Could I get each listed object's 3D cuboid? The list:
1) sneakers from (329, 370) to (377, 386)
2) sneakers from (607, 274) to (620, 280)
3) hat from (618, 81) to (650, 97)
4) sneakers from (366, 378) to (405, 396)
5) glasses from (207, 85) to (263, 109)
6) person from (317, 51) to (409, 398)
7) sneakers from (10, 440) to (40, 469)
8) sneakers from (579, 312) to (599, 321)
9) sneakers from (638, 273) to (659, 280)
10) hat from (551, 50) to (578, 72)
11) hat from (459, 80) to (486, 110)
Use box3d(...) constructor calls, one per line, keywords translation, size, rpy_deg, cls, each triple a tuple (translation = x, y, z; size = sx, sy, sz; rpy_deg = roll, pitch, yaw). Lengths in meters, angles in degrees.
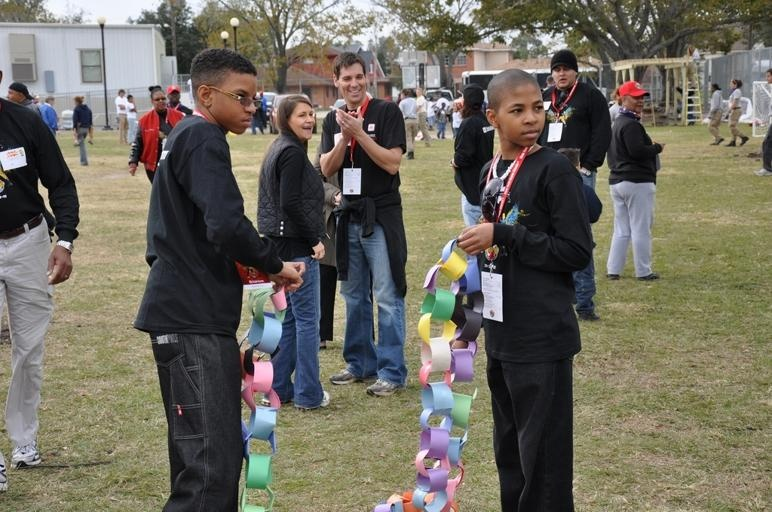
box3d(translation=(-0.327, 1.123, 7.976), size=(0.443, 0.201, 0.153), rpy_deg=(4, -3, -7), cls="sneakers")
box3d(translation=(2.745, 0.262, 10.407), size=(0.058, 0.066, 0.146), rpy_deg=(-2, 2, -26), cls="sneakers")
box3d(translation=(2.826, -1.928, 9.930), size=(0.231, 0.198, 0.345), rpy_deg=(-10, 14, -41), cls="hat")
box3d(translation=(-0.021, 1.187, 7.686), size=(0.313, 0.133, 0.139), rpy_deg=(3, -1, -11), cls="sneakers")
box3d(translation=(-0.956, -1.016, 5.435), size=(0.188, 0.055, 0.182), rpy_deg=(27, 10, 21), cls="glasses")
box3d(translation=(-0.186, -0.271, 7.629), size=(0.716, 3.029, 0.467), rpy_deg=(-1, 8, -1), cls="person")
box3d(translation=(-2.708, 1.545, 6.568), size=(0.303, 0.201, 0.109), rpy_deg=(3, -6, -26), cls="sneakers")
box3d(translation=(2.123, 0.640, 9.017), size=(0.206, 0.092, 0.090), rpy_deg=(1, 7, 10), cls="sneakers")
box3d(translation=(3.122, 0.262, 10.259), size=(0.227, 0.102, 0.090), rpy_deg=(-5, 10, 4), cls="sneakers")
box3d(translation=(1.854, -2.045, 8.996), size=(0.238, 0.187, 0.237), rpy_deg=(4, 7, 7), cls="hat")
box3d(translation=(0.962, -1.762, 9.529), size=(0.243, 0.328, 0.339), rpy_deg=(11, 48, 11), cls="hat")
